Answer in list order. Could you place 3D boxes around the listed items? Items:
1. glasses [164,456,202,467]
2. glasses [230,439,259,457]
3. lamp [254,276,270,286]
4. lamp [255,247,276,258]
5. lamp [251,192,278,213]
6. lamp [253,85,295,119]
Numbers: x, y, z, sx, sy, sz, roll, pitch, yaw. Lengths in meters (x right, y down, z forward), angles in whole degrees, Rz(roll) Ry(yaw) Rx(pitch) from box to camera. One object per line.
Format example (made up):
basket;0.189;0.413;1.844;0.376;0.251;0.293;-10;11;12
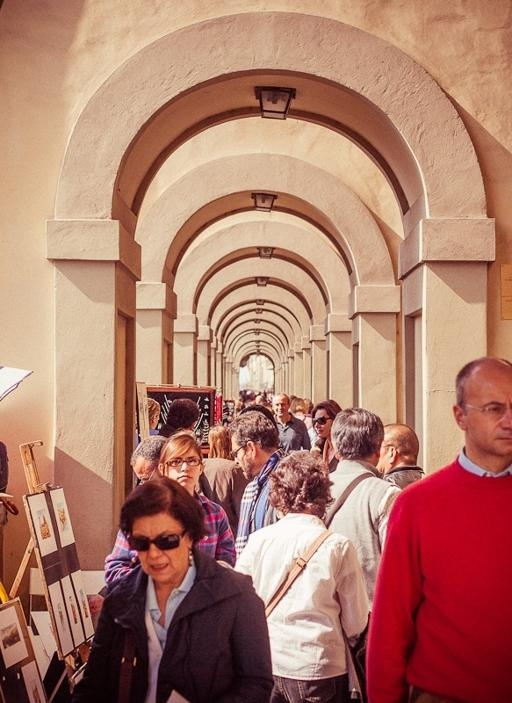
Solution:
glasses;-0.392;0.604;3.469;0.190;0.066;0.072;3;-5;-18
glasses;-0.080;0.618;4.120;0.149;0.047;0.147;-8;-13;-14
lamp;0.164;-2.026;18.364;0.304;0.290;0.320;1;22;6
lamp;0.217;-2.321;14.928;0.284;0.178;0.380;0;0;3
lamp;0.128;-2.525;10.792;0.263;0.243;0.269;1;-16;0
lamp;0.211;-2.668;6.803;0.414;0.191;0.917;1;-5;1
